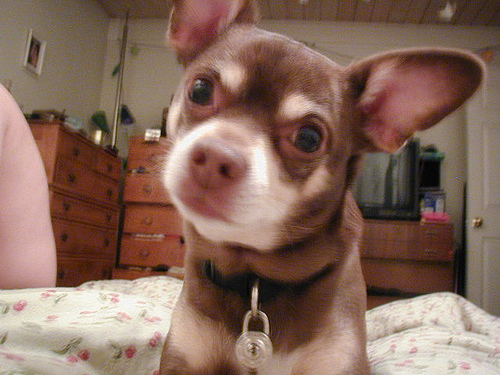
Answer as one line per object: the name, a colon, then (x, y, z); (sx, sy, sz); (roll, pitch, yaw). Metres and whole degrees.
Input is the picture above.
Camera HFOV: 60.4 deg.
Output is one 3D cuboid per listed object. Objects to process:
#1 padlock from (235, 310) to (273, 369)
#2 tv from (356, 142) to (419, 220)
padlock: (0.011, 0.364, 1.024); (0.085, 0.114, 0.022); (4, -1, -1)
tv: (0.692, 0.000, 2.321); (0.316, 0.418, 0.447); (5, -14, 5)
